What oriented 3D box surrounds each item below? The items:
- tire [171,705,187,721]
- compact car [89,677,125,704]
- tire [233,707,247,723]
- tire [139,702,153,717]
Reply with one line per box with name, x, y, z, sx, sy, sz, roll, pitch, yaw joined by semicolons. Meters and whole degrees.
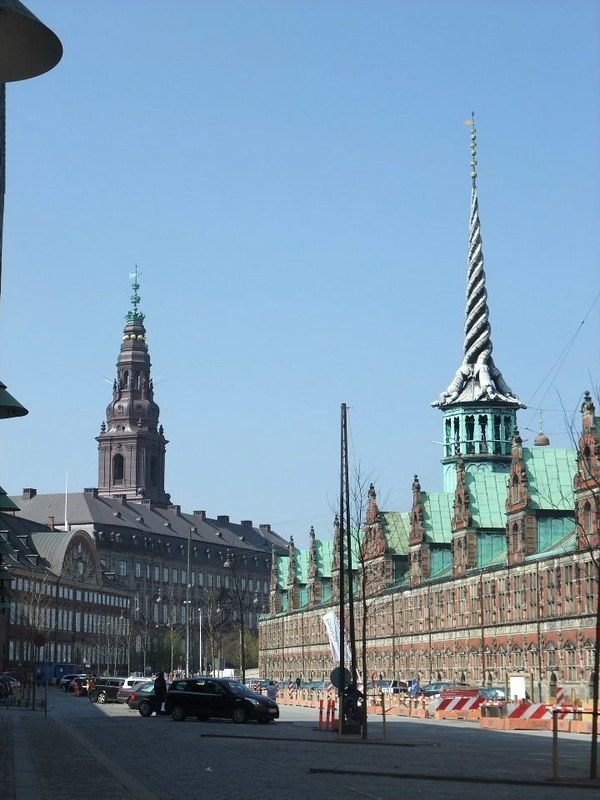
tire;-3.859;10.043;53.888;0.132;0.408;0.393;0;-33;-28
compact car;-9.462;14.204;81.529;1.903;1.007;1.181;0;-5;22
tire;-1.860;9.974;52.978;0.165;0.487;0.821;3;-5;-29
tire;-5.478;11.025;59.879;0.508;0.582;0.204;-2;-3;35
